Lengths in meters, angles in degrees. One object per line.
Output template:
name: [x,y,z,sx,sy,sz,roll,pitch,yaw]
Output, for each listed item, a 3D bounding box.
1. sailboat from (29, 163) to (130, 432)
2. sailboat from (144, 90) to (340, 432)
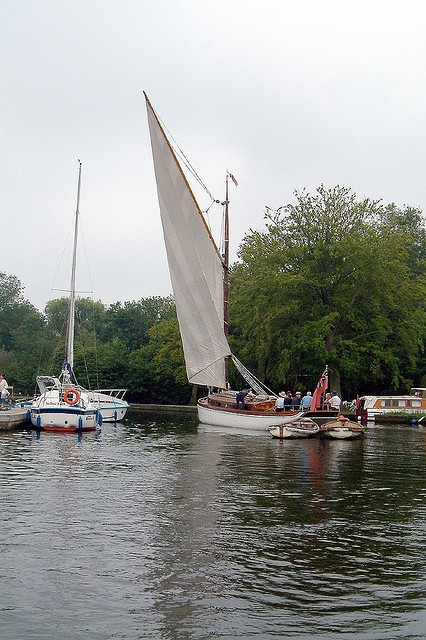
sailboat: [-8.021,-0.813,37.637,3.911,13.972,8.541,2,-1,-7]
sailboat: [0.200,-3.666,39.787,8.552,19.638,8.751,1,-3,-7]
